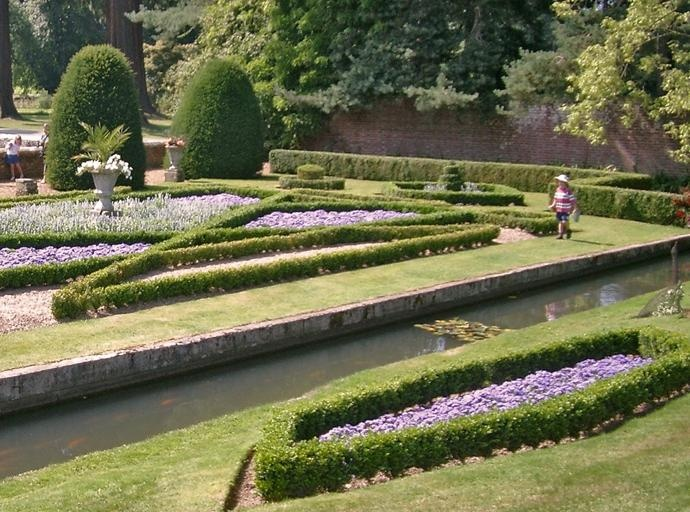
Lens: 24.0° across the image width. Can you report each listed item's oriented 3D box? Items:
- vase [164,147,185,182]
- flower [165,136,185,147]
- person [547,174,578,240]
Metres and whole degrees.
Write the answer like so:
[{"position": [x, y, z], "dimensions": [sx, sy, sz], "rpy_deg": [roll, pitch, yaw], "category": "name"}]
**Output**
[{"position": [-5.808, -3.077, 54.820], "dimensions": [0.624, 1.192, 0.370], "rpy_deg": [-2, 9, -7], "category": "vase"}, {"position": [-5.766, -3.833, 55.005], "dimensions": [0.591, 0.365, 0.661], "rpy_deg": [1, 4, -4], "category": "flower"}, {"position": [6.382, -1.423, 47.505], "dimensions": [0.706, 1.868, 1.136], "rpy_deg": [0, 9, 5], "category": "person"}]
